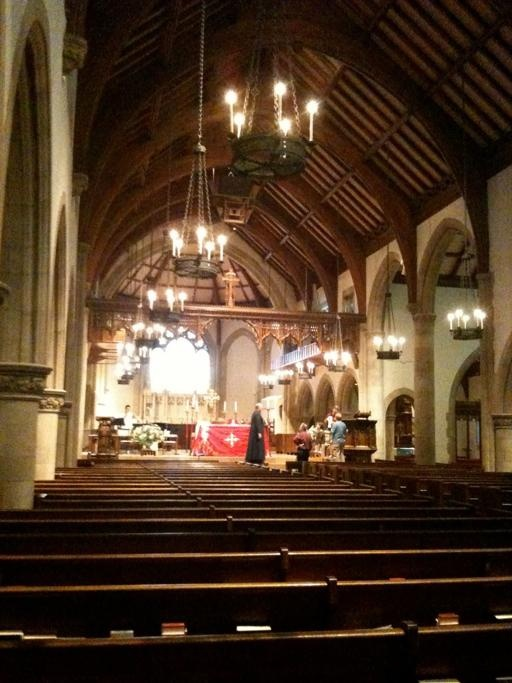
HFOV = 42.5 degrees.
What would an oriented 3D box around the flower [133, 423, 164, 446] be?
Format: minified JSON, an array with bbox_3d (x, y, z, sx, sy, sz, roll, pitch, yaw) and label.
[{"bbox_3d":[-2.840,2.417,17.078,0.772,0.543,0.870,2,-8,-10],"label":"flower"}]
